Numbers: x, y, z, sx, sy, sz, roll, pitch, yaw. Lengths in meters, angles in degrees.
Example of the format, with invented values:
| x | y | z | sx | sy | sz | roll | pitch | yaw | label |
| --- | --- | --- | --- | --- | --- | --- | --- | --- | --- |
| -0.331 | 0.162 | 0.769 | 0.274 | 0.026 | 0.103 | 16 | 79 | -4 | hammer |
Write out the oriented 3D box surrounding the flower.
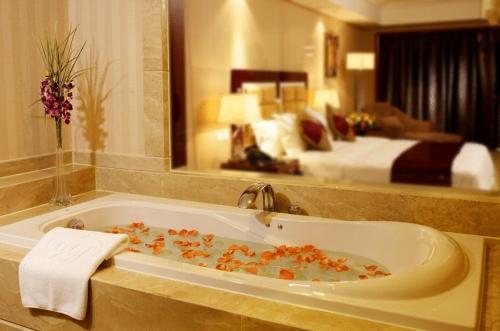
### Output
| x | y | z | sx | sy | sz | roll | pitch | yaw | label |
| --- | --- | --- | --- | --- | --- | --- | --- | --- | --- |
| -1.594 | -0.687 | 2.947 | 0.379 | 1.032 | 0.618 | 1 | 14 | 3 | flower |

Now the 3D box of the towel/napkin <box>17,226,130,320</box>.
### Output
| x | y | z | sx | sy | sz | roll | pitch | yaw | label |
| --- | --- | --- | --- | --- | --- | --- | --- | --- | --- |
| -0.986 | 0.596 | 1.973 | 0.494 | 0.366 | 0.337 | 4 | 14 | 17 | towel/napkin |

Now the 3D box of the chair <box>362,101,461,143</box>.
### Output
| x | y | z | sx | sy | sz | roll | pitch | yaw | label |
| --- | --- | --- | --- | --- | --- | --- | --- | --- | --- |
| 1.042 | -0.291 | 2.322 | 0.410 | 0.324 | 0.283 | 4 | 11 | 37 | chair |
